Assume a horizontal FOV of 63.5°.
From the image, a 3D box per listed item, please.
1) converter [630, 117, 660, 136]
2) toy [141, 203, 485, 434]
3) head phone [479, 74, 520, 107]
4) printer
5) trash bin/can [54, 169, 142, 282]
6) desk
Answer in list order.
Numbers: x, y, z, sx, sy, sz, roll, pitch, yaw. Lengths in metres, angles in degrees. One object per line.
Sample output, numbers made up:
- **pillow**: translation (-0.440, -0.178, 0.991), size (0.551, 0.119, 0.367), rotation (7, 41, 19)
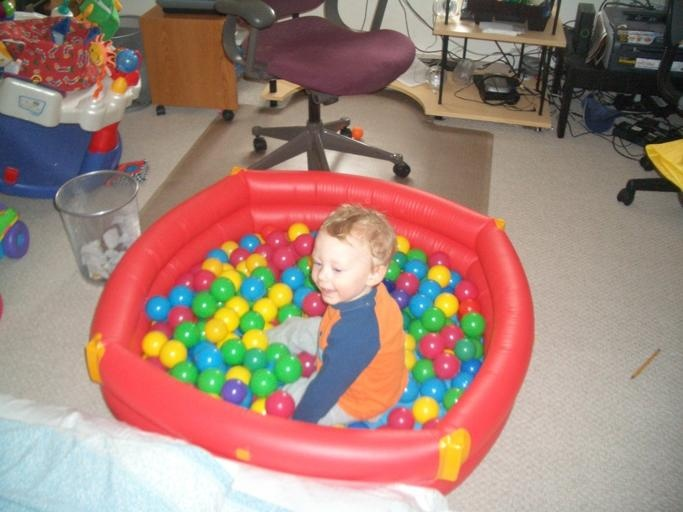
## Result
- **converter**: translation (1.895, -0.812, 3.417), size (0.126, 0.040, 0.126), rotation (-30, 39, -19)
- **toy**: translation (-0.099, 0.246, 2.243), size (0.973, 0.314, 0.978), rotation (9, 32, 2)
- **head phone**: translation (1.043, -1.101, 3.644), size (0.225, 0.071, 0.242), rotation (6, 48, 0)
- **printer**: translation (1.739, -1.381, 3.230), size (0.368, 0.191, 0.540), rotation (9, 50, 13)
- **trash bin/can**: translation (-1.114, -0.142, 2.585), size (0.348, 0.395, 0.365), rotation (-17, 41, -27)
- **desk**: translation (1.655, -1.028, 3.500), size (0.563, 0.406, 0.847), rotation (14, 52, 10)
